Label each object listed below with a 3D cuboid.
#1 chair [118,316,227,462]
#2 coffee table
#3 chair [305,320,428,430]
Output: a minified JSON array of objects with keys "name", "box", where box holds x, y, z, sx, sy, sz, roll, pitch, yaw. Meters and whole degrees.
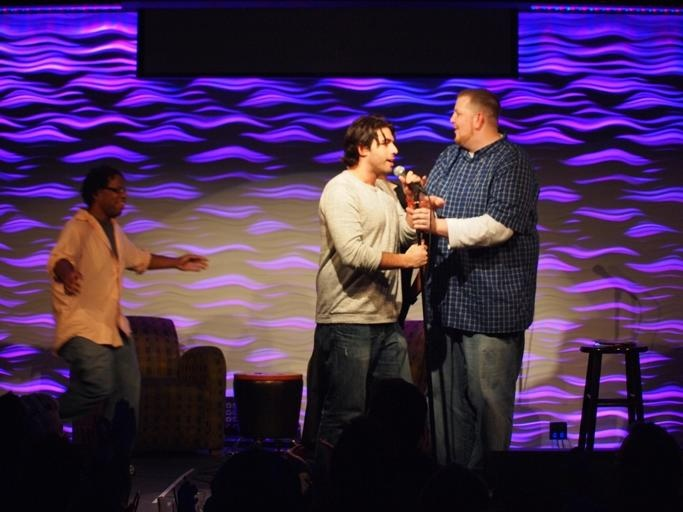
[{"name":"chair","box":[-1.466,0.958,7.504,0.876,0.798,0.990,-4,5,-31]},{"name":"coffee table","box":[-0.525,1.085,7.116,0.582,0.387,0.565,-5,-6,39]},{"name":"chair","box":[0.110,0.788,6.090,0.659,0.727,0.541,0,-7,-17]}]
